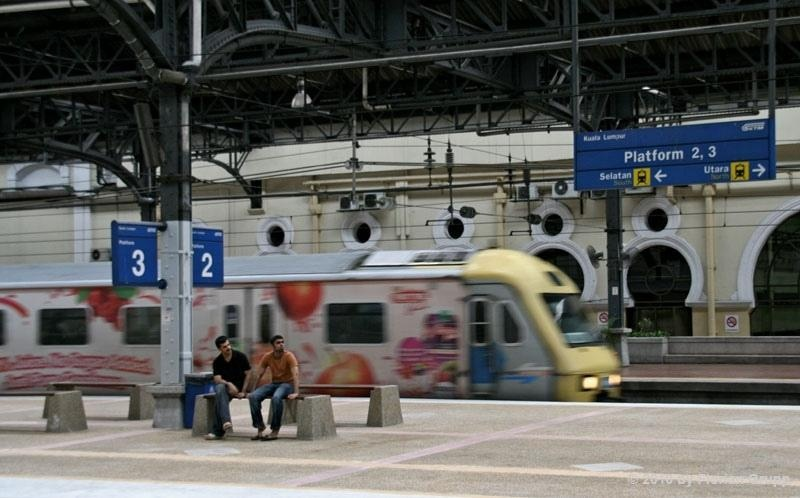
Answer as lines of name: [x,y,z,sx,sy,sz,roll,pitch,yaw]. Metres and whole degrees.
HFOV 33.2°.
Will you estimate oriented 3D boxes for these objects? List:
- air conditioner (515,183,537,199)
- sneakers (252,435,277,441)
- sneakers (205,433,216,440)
air conditioner: [5.438,-2.475,57.475,1.101,0.528,0.731,0,0,-22]
sneakers: [-3.598,4.994,35.478,0.551,0.136,0.202,3,-10,-3]
sneakers: [-5.096,4.941,35.828,0.213,0.137,0.313,-9,15,-34]
